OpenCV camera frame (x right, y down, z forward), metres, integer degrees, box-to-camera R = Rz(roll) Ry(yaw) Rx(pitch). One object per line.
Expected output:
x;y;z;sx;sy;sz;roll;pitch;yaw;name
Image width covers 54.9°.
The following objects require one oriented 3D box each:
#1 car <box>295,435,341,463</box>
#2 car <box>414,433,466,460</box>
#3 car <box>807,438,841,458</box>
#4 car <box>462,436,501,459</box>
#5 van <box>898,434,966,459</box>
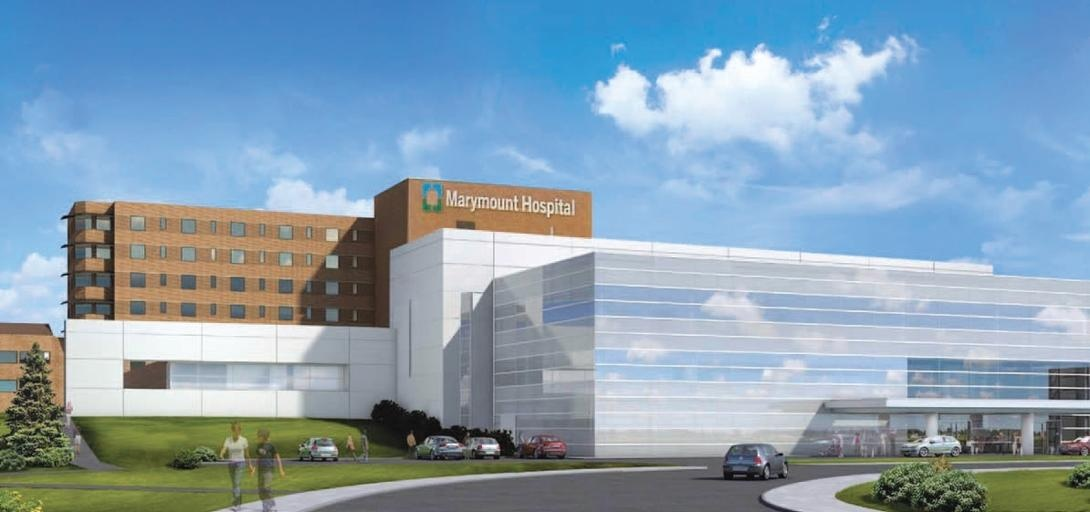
-24.309;20.665;112.591;3.151;2.186;3.709;-2;5;-27;car
-11.513;21.002;114.886;5.150;2.384;1.880;2;6;32;car
31.277;21.703;119.056;2.561;1.144;3.246;0;-5;18;car
-6.969;20.834;114.891;3.631;2.258;2.080;1;5;17;car
42.928;21.003;116.685;6.510;2.173;2.590;-1;5;-13;van
